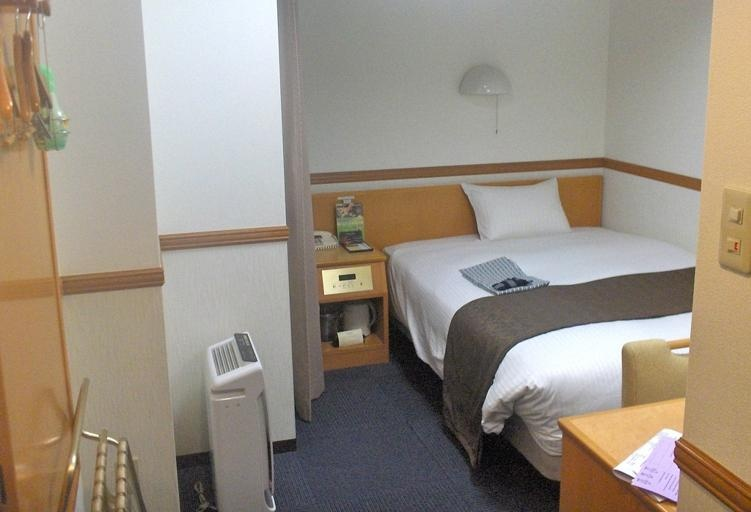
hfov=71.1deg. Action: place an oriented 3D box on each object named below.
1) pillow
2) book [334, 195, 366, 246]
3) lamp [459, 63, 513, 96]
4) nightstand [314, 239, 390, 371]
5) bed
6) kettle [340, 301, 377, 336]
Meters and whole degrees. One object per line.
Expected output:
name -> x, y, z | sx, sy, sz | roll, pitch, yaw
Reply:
pillow -> 1.324, -0.407, 4.821 | 0.867, 0.571, 0.235 | -4, -12, -19
book -> -0.227, -0.305, 4.570 | 0.241, 0.408, 0.174 | -5, 11, -8
lamp -> 0.986, -1.589, 4.711 | 0.467, 0.295, 0.178 | -6, 12, -14
nightstand -> -0.322, 0.433, 4.379 | 0.662, 0.892, 0.589 | -4, 7, -27
bed -> 0.870, 0.362, 3.535 | 1.544, 0.416, 1.733 | -7, 18, -19
kettle -> -0.079, 0.522, 4.319 | 0.252, 0.238, 0.161 | -3, -3, 43
